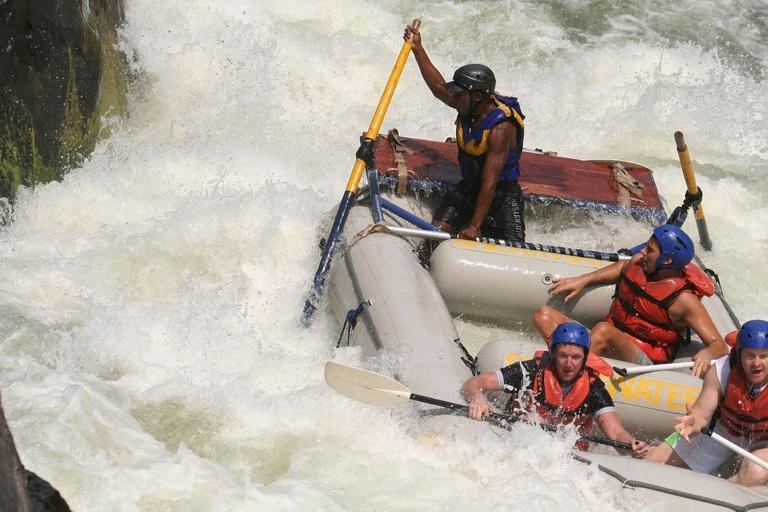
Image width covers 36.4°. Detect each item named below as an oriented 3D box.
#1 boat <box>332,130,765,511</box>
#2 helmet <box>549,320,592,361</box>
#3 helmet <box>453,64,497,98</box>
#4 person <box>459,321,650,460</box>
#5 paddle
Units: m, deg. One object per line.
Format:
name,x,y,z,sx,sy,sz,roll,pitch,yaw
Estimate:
boat,1.133,0.700,10.536,2.729,0.745,2.648,10,47,-3
helmet,1.578,0.673,9.868,0.227,0.283,0.311,8,43,0
helmet,0.861,-1.692,11.234,0.363,0.199,0.261,13,12,10
person,1.416,1.097,9.804,1.517,0.934,0.607,5,28,7
paddle,0.844,1.282,9.892,2.755,0.328,0.117,14,-4,10
